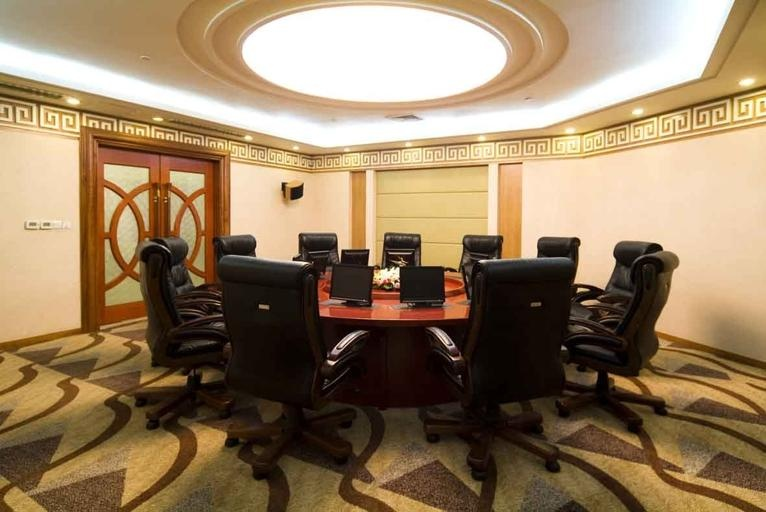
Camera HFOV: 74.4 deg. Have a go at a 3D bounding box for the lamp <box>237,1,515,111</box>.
[{"bbox_3d":[-0.070,-2.629,6.880,3.317,0.781,2.071,1,7,2],"label":"lamp"}]

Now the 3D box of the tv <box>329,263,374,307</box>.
[{"bbox_3d":[-0.343,0.334,5.611,0.447,0.368,0.203,0,-10,21],"label":"tv"}]

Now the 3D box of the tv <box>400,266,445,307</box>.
[{"bbox_3d":[0.446,0.288,5.757,0.542,0.508,0.426,1,2,1],"label":"tv"}]

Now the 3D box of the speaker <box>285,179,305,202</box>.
[{"bbox_3d":[-1.739,-1.335,10.239,0.340,0.410,0.611,3,9,13],"label":"speaker"}]

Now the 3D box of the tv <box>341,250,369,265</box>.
[{"bbox_3d":[-0.382,0.018,7.028,0.206,0.201,0.070,0,9,-12],"label":"tv"}]
